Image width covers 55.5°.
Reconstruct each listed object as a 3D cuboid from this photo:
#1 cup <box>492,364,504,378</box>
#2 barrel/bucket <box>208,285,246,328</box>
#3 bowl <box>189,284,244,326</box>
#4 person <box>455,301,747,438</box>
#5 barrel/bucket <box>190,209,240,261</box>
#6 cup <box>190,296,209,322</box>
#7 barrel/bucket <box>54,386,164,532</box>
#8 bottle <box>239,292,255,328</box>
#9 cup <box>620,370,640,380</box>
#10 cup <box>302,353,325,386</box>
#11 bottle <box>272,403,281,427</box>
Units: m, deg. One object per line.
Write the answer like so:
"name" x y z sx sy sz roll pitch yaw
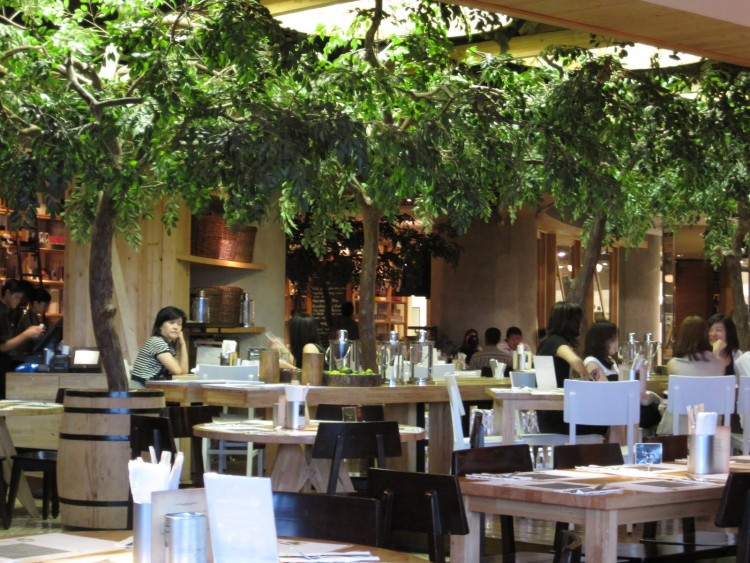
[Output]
"cup" 1.167 0.858 6.744 0.113 0.154 0.111 2 -3 0
"barrel/bucket" -1.680 0.309 8.059 0.407 0.443 0.448 0 -9 1
"bowl" -1.741 0.274 7.924 0.528 0.356 0.453 -5 -7 23
"person" 1.725 0.852 5.836 0.758 1.101 1.900 13 -29 -38
"barrel/bucket" -1.697 -0.471 7.431 0.306 0.549 0.542 -6 -9 38
"cup" -1.797 0.288 7.342 0.149 0.267 0.107 1 -4 -24
"barrel/bucket" -1.420 0.944 3.795 0.544 0.724 0.331 -2 -4 21
"bottle" -1.439 0.316 7.978 0.138 0.370 0.514 1 -5 -13
"cup" 1.846 0.684 5.115 0.115 0.089 0.116 0 -1 0
"cup" -0.440 0.628 5.042 0.192 0.233 0.195 1 -7 0
"bottle" -0.501 0.695 3.678 0.037 0.110 0.162 1 -5 -13
